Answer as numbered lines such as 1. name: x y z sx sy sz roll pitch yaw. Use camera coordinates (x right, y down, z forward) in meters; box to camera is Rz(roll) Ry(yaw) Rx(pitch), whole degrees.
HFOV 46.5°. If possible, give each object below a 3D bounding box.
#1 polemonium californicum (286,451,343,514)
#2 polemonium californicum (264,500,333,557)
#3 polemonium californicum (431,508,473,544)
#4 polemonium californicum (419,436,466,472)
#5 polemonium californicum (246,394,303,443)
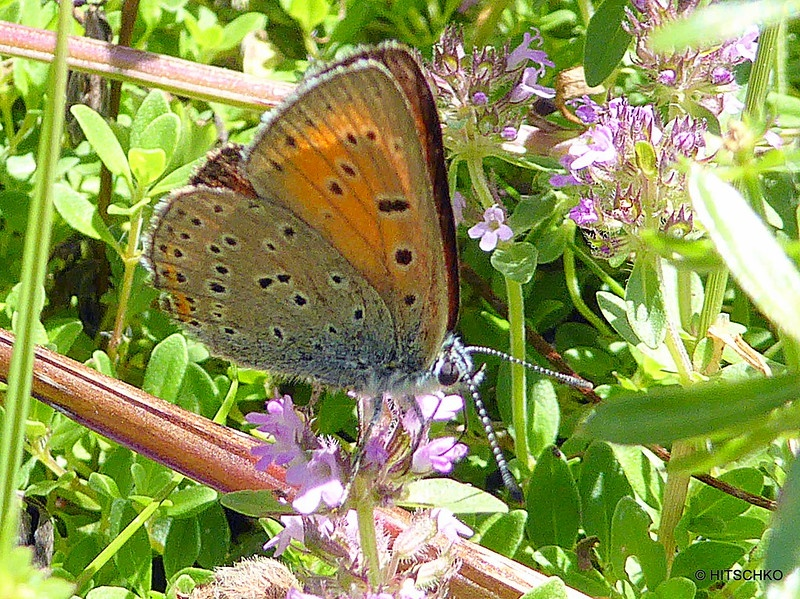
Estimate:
1. polemonium californicum: -0.149 0.356 1.774 0.110 0.052 0.110 -24 43 -19
2. polemonium californicum: -0.203 0.449 1.854 0.097 0.130 0.069 8 84 12
3. polemonium californicum: 0.099 0.443 1.856 0.076 0.037 0.072 55 13 1
4. polemonium californicum: 0.076 0.309 1.874 0.078 0.033 0.078 34 35 -29
5. polemonium californicum: -0.241 0.244 1.909 0.095 0.076 0.100 6 44 45
